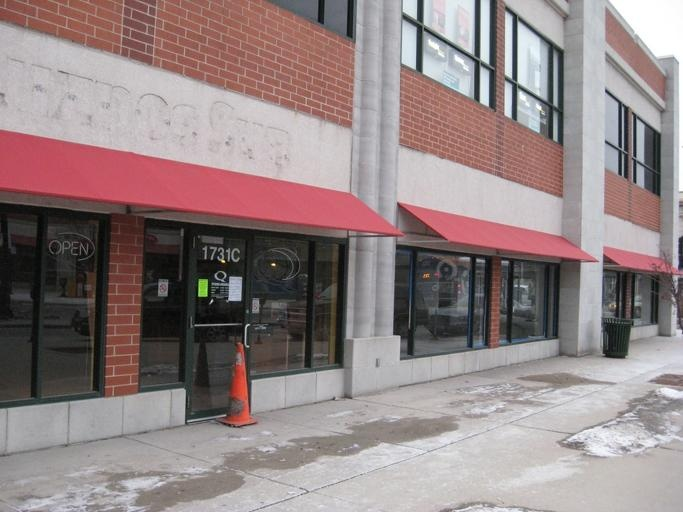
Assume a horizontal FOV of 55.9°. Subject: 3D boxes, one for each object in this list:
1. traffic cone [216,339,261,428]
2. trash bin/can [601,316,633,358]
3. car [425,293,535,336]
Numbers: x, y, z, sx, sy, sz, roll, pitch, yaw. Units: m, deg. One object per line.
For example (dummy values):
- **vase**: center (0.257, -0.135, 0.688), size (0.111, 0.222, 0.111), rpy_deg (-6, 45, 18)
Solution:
- **traffic cone**: center (-1.603, 1.970, 10.047), size (0.447, 1.148, 0.441), rpy_deg (2, 1, 42)
- **trash bin/can**: center (8.144, 2.436, 19.258), size (0.922, 0.985, 0.892), rpy_deg (5, -6, 23)
- **car**: center (3.962, 1.578, 16.842), size (3.130, 0.936, 1.378), rpy_deg (6, -6, -38)
